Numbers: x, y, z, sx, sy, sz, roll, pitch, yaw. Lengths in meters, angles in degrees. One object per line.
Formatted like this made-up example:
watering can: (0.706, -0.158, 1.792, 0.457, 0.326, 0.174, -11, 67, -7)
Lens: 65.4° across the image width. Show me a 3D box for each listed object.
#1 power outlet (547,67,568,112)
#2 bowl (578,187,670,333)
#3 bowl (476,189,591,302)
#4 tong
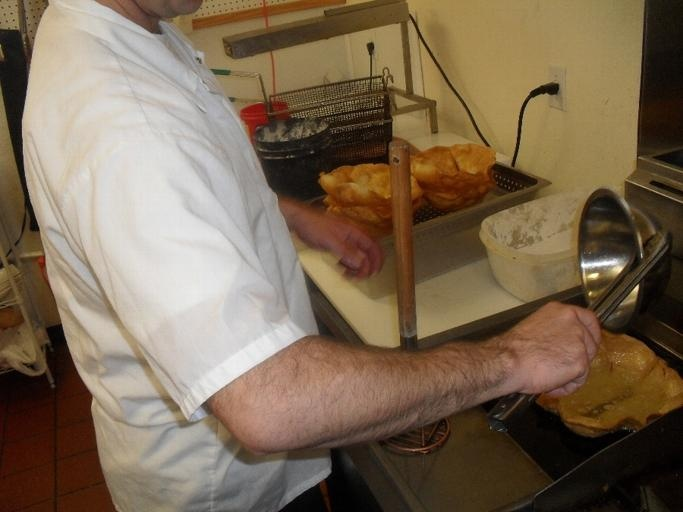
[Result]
power outlet: (0.616, -0.479, 1.515, 0.013, 0.128, 0.089, -22, 33, -17)
bowl: (0.481, 0.001, 0.909, 0.065, 0.218, 0.210, -4, 23, -5)
bowl: (0.485, 0.007, 1.337, 0.303, 0.126, 0.208, -23, 48, -18)
tong: (0.436, 0.144, 0.952, 0.457, 0.063, 0.065, -49, 49, -7)
